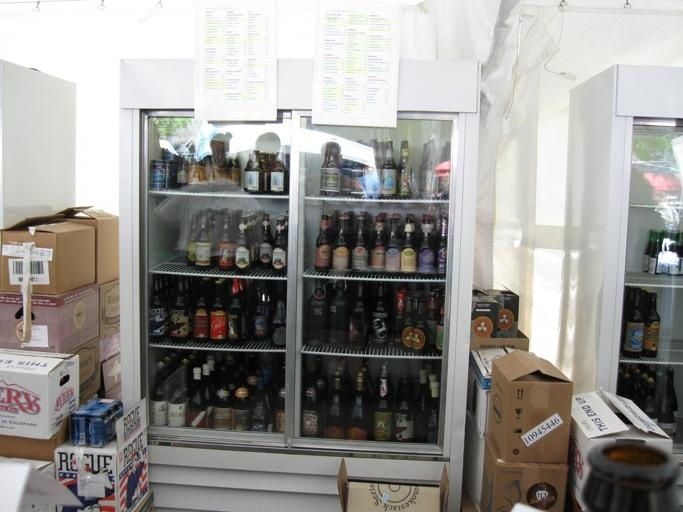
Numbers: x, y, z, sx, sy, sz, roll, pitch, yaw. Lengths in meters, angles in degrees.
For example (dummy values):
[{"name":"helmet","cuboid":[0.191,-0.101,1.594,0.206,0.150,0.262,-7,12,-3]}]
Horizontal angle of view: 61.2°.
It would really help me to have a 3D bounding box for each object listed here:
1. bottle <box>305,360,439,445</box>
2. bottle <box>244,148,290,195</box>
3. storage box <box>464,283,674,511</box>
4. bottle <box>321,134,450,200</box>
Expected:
[{"name":"bottle","cuboid":[0.166,0.796,3.090,0.391,0.388,0.147,1,-6,5]},{"name":"bottle","cuboid":[-0.381,-0.454,3.035,0.222,0.223,0.082,3,9,7]},{"name":"storage box","cuboid":[1.025,0.339,3.301,0.798,1.612,1.636,0,6,1]},{"name":"bottle","cuboid":[0.244,-0.475,2.984,0.726,0.212,0.171,3,-9,4]}]
